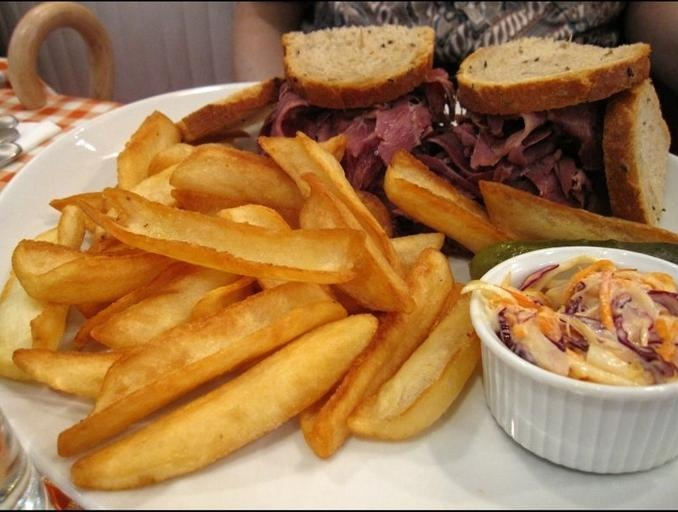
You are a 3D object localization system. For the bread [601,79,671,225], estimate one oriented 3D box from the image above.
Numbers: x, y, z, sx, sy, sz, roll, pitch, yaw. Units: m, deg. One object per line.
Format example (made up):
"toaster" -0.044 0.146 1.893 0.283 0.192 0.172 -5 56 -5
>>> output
"bread" 0.925 -0.320 1.796 0.123 0.459 0.426 1 69 38

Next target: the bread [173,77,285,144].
"bread" -0.405 -0.519 2.088 0.304 0.071 0.282 -26 3 -36

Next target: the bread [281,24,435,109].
"bread" 0.069 -0.699 2.061 0.468 0.162 0.434 -2 41 3
